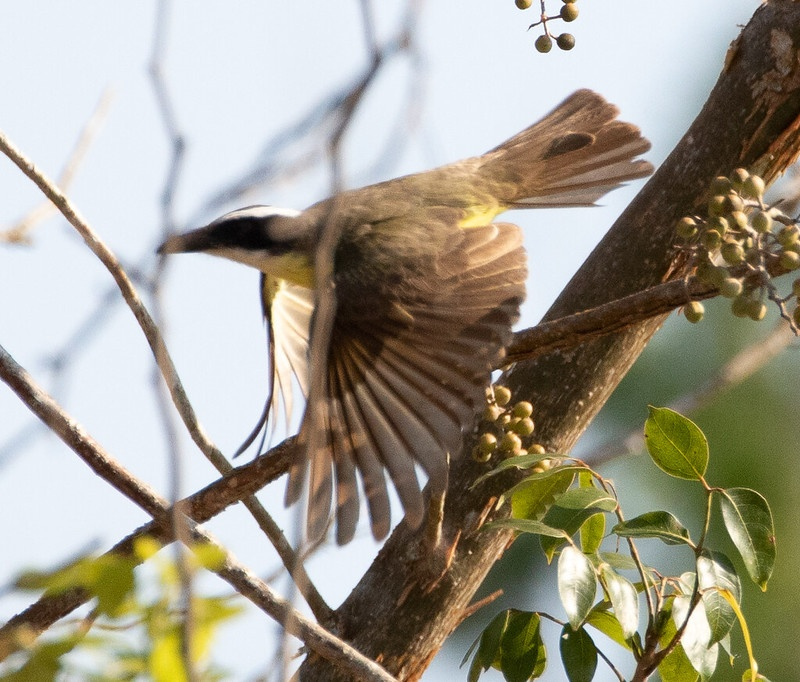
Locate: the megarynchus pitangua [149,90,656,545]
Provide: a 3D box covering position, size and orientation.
[{"bbox_3d":[0.023,-0.097,3.675,0.891,1.183,0.484,-37,-57,23],"label":"megarynchus pitangua"}]
